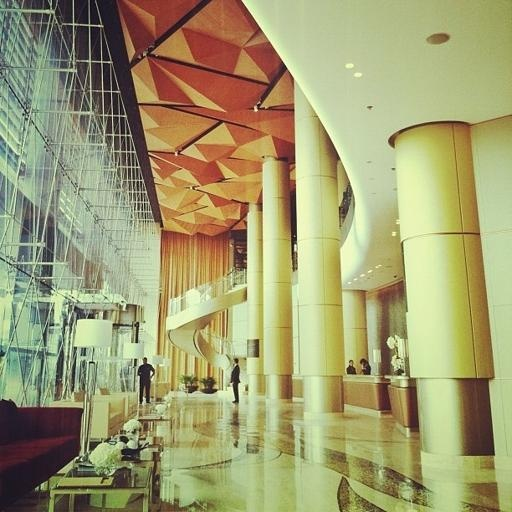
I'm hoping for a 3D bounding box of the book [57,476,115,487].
[{"bbox_3d":[-1.121,1.486,2.968,0.186,0.051,0.146,-2,-8,6],"label":"book"}]

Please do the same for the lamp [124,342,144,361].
[{"bbox_3d":[-3.187,2.431,11.775,0.417,0.529,0.439,0,-2,-17],"label":"lamp"}]

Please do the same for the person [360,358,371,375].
[{"bbox_3d":[3.242,3.294,13.502,0.258,0.499,1.028,-5,-17,12],"label":"person"}]

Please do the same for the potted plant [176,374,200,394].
[{"bbox_3d":[-3.305,6.260,22.093,0.848,0.900,3.030,2,-18,-10],"label":"potted plant"}]

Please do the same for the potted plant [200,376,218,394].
[{"bbox_3d":[-2.171,5.987,20.960,0.616,0.650,0.660,0,-13,9],"label":"potted plant"}]
